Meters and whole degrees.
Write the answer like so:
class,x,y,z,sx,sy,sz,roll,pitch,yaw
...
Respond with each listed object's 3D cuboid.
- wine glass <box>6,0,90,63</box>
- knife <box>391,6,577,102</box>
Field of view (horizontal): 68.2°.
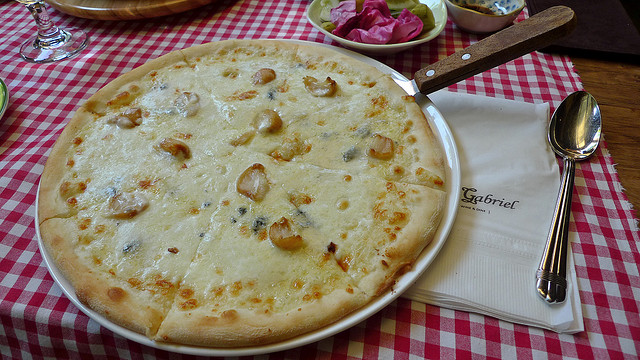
class,x,y,z,sx,sy,sz,roll,pitch,yaw
wine glass,-1.510,-0.808,2.634,0.296,0.313,0.283,-4,44,-2
knife,0.803,-0.596,2.309,1.024,0.083,0.229,-25,61,14
